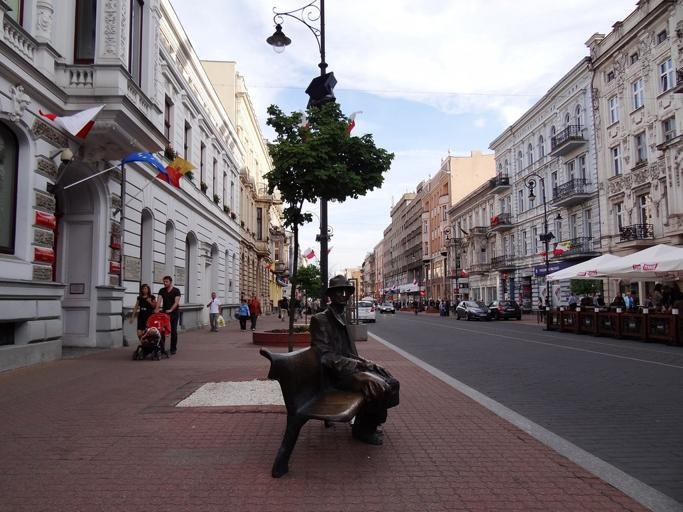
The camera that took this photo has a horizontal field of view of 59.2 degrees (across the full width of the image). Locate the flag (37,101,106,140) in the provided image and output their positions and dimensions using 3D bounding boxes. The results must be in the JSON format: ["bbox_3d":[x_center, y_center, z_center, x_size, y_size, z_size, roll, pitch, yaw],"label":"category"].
[{"bbox_3d":[-6.412,-3.243,14.367,1.369,0.861,0.713,0,-8,-22],"label":"flag"}]

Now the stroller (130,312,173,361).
[{"bbox_3d":[-4.982,2.190,15.366,0.613,1.331,1.436,-1,-13,2],"label":"stroller"}]

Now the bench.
[{"bbox_3d":[-0.222,1.896,7.750,1.077,1.473,1.735,1,-1,16],"label":"bench"}]

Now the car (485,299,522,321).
[{"bbox_3d":[11.014,3.761,40.939,1.219,0.998,2.205,-1,0,0],"label":"car"}]

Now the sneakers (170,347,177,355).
[{"bbox_3d":[-4.529,2.577,16.187,0.161,0.121,0.211,14,-29,2],"label":"sneakers"}]

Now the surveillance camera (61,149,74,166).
[{"bbox_3d":[-6.583,-2.420,14.429,0.289,0.404,0.393,0,-23,-28],"label":"surveillance camera"}]

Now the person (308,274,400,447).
[{"bbox_3d":[0.171,1.409,7.886,1.062,2.078,0.929,-7,-5,35],"label":"person"}]

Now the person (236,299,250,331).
[{"bbox_3d":[-4.395,2.646,27.281,0.384,1.445,1.006,-1,-7,-12],"label":"person"}]
